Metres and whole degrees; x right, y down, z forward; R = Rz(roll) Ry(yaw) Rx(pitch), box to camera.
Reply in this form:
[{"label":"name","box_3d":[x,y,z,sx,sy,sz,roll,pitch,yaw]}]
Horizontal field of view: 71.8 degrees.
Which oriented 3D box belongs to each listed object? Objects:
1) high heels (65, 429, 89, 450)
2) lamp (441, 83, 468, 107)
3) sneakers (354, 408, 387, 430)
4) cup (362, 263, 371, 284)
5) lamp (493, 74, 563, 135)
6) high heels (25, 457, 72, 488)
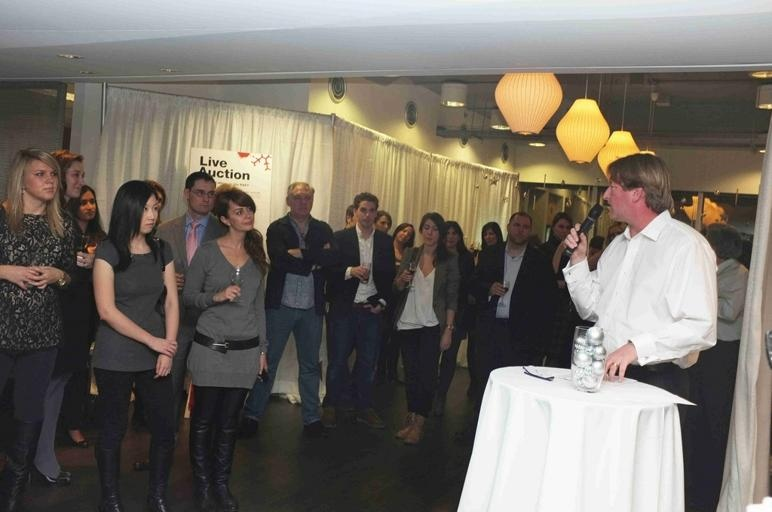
[{"label":"high heels","box_3d":[-2.612,1.569,4.566,0.312,0.126,0.106,-3,-10,35]},{"label":"lamp","box_3d":[0.852,-1.981,6.537,0.304,0.226,0.308,1,-6,25]},{"label":"sneakers","box_3d":[-0.166,1.611,5.342,0.349,0.143,0.140,6,7,34]},{"label":"cup","box_3d":[-0.181,0.172,5.217,0.088,0.162,0.039,10,3,39]},{"label":"lamp","box_3d":[1.427,-1.510,5.385,0.677,0.603,0.669,4,2,15]},{"label":"high heels","box_3d":[-2.479,1.605,3.954,0.307,0.133,0.161,0,-1,-10]}]
